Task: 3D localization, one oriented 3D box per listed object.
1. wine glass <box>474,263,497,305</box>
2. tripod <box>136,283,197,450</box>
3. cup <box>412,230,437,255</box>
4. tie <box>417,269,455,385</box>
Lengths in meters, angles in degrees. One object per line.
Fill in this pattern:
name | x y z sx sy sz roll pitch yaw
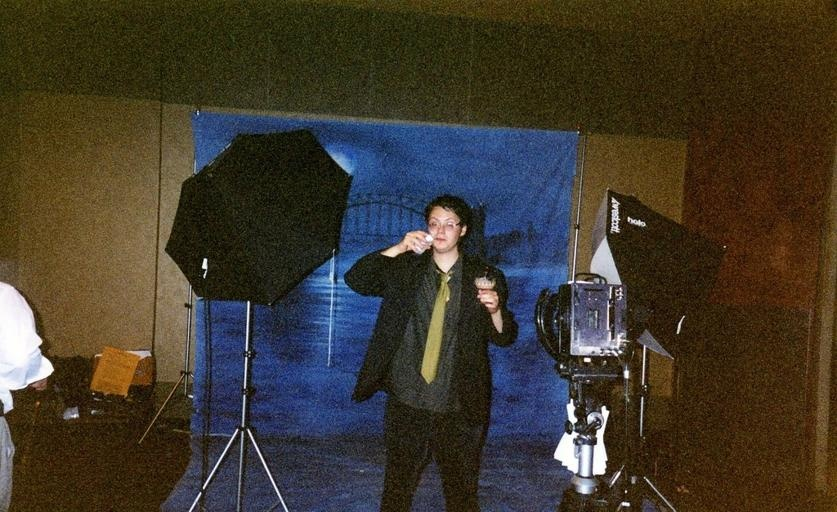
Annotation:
wine glass | 0.563 0.175 6.990 0.192 0.167 0.212 1 -14 4
tripod | -2.698 1.110 8.991 0.455 1.728 0.852 4 -1 -12
cup | 0.045 -0.108 7.078 0.152 0.184 0.191 4 -1 4
tie | 0.150 0.600 7.033 0.187 0.978 0.147 9 -18 10
